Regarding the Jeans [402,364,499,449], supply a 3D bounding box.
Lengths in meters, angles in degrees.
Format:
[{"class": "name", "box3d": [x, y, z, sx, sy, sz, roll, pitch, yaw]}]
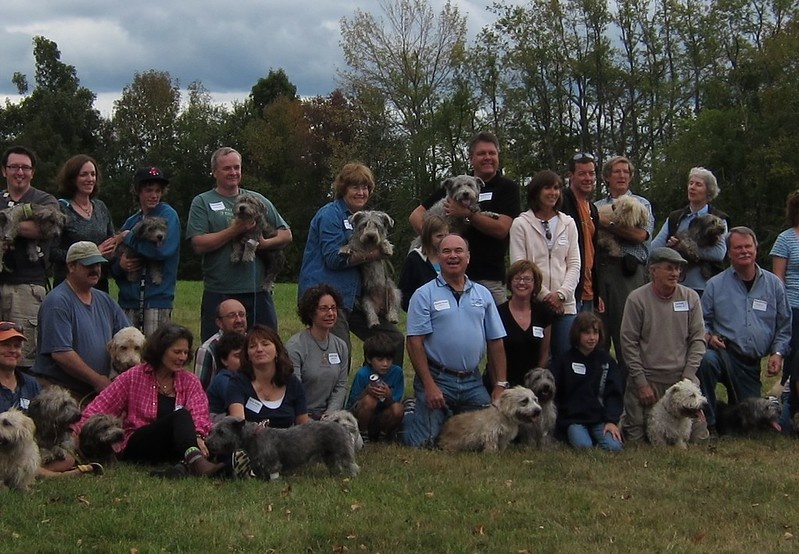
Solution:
[{"class": "Jeans", "box3d": [0.732, 1.817, 11.857, 1.066, 0.981, 0.550, -2, -6, -28]}]

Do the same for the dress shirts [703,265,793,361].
[{"class": "dress shirts", "box3d": [5.346, 0.594, 13.062, 1.395, 1.436, 0.778, 3, 1, 11]}]

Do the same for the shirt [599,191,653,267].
[{"class": "shirt", "box3d": [3.567, -0.908, 13.797, 1.011, 0.734, 0.607, 8, 18, 29]}]

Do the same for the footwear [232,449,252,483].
[{"class": "footwear", "box3d": [-1.858, 2.213, 10.146, 0.153, 0.416, 0.177, -8, 8, -20]}]

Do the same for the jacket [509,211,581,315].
[{"class": "jacket", "box3d": [2.228, -0.229, 12.865, 1.101, 1.612, 0.994, -2, 14, -16]}]

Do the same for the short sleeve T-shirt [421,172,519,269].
[{"class": "short sleeve T-shirt", "box3d": [1.185, -0.758, 12.993, 1.066, 1.275, 1.305, -2, -6, -3]}]

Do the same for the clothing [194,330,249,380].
[{"class": "clothing", "box3d": [-2.380, 1.069, 11.587, 0.625, 0.497, 0.202, -10, 10, -37]}]

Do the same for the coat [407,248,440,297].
[{"class": "coat", "box3d": [0.380, -0.078, 12.513, 0.638, 0.668, 0.359, -6, 11, -38]}]

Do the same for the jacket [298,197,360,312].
[{"class": "jacket", "box3d": [-0.898, -0.308, 12.933, 1.116, 1.761, 1.355, 3, -5, 7]}]

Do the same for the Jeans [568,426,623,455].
[{"class": "Jeans", "box3d": [2.726, 2.229, 11.854, 0.770, 0.263, 0.478, 5, 14, 8]}]

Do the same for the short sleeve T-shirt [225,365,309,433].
[{"class": "short sleeve T-shirt", "box3d": [-1.672, 1.332, 10.923, 1.242, 0.804, 0.634, 2, -7, -13]}]

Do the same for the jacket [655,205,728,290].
[{"class": "jacket", "box3d": [4.957, -0.470, 14.114, 1.017, 1.262, 1.549, -1, 3, -22]}]

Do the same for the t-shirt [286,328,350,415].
[{"class": "t-shirt", "box3d": [-1.116, 1.304, 11.624, 1.084, 1.324, 0.791, 2, -7, -42]}]

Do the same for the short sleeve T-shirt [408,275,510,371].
[{"class": "short sleeve T-shirt", "box3d": [0.825, 0.672, 12.016, 1.430, 1.293, 0.736, 0, 0, -12]}]

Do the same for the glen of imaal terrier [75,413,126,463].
[{"class": "glen of imaal terrier", "box3d": [-3.672, 1.937, 10.578, 0.641, 0.652, 0.482, 6, 5, 33]}]

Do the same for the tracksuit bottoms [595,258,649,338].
[{"class": "tracksuit bottoms", "box3d": [3.756, 0.240, 14.157, 0.572, 1.859, 0.870, 0, 43, 19]}]

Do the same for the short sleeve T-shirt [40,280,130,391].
[{"class": "short sleeve T-shirt", "box3d": [-4.267, 0.802, 11.509, 0.735, 1.375, 1.311, 1, -5, 30]}]

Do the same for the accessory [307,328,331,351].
[{"class": "accessory", "box3d": [-1.088, 0.830, 11.798, 0.318, 0.358, 0.257, -2, 1, -13]}]
